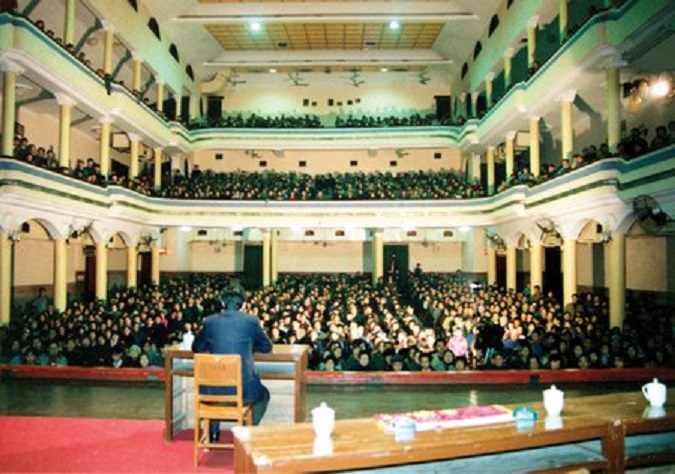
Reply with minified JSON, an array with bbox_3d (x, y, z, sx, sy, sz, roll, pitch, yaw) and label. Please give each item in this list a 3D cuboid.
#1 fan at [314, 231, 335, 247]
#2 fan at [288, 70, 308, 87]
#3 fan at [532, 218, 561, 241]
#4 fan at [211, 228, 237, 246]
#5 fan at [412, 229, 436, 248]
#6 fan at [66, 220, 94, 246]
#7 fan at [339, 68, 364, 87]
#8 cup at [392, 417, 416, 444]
[{"bbox_3d":[-0.628,0.049,31.095,1.002,0.541,2.921,-1,-8,-2],"label":"fan"},{"bbox_3d":[-2.160,-8.604,31.789,0.757,0.729,0.693,-1,-47,1],"label":"fan"},{"bbox_3d":[7.462,-0.325,20.249,0.720,0.689,1.607,-1,-8,2],"label":"fan"},{"bbox_3d":[-5.817,-0.004,30.593,1.586,0.821,1.067,0,-3,11],"label":"fan"},{"bbox_3d":[4.607,0.063,30.470,0.982,0.998,0.285,-3,2,-1],"label":"fan"},{"bbox_3d":[-8.972,-0.202,20.231,0.547,0.781,1.864,-4,1,2],"label":"fan"},{"bbox_3d":[0.968,-8.655,31.763,0.965,0.352,0.736,-12,-50,11],"label":"fan"},{"bbox_3d":[1.001,2.815,8.524,0.280,0.276,0.268,1,16,0],"label":"cup"}]
